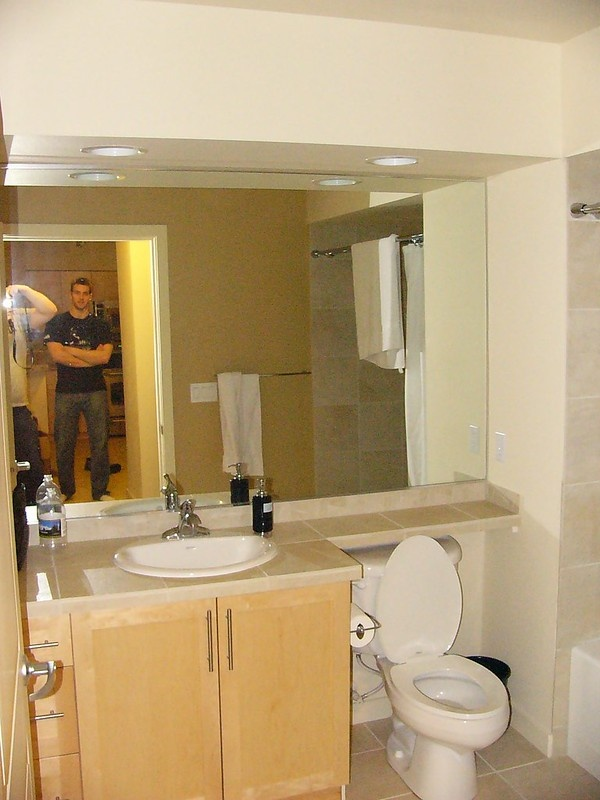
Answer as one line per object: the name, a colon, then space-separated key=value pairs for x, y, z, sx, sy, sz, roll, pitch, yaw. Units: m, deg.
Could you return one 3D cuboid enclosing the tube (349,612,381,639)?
tube: x=0.208 y=0.744 z=2.440 sx=0.115 sy=0.110 sz=0.033 roll=-4 pitch=3 yaw=-1
